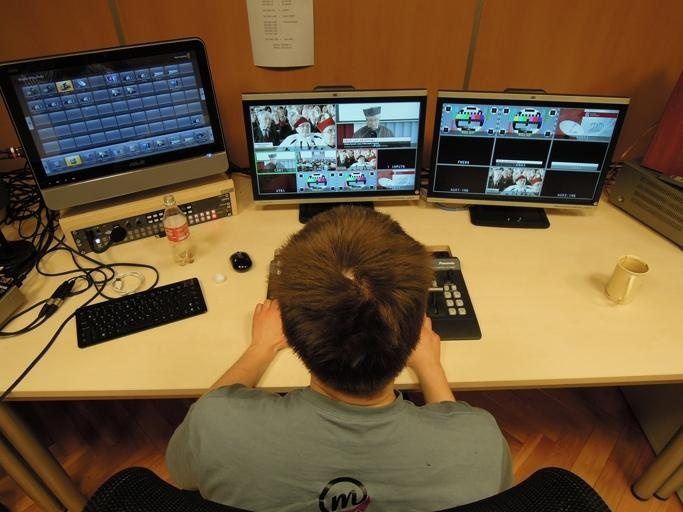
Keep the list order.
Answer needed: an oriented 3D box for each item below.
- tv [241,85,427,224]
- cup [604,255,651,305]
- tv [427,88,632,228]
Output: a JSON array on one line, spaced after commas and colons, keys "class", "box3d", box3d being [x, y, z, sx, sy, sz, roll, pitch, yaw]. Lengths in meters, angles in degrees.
[{"class": "tv", "box3d": [-0.031, -0.401, 1.929, 0.677, 0.513, 0.204, -1, 46, -2]}, {"class": "cup", "box3d": [0.997, 0.080, 1.729, 0.094, 0.145, 0.121, 24, 44, 30]}, {"class": "tv", "box3d": [0.741, -0.378, 1.977, 0.592, 0.491, 0.216, 3, 46, 5]}]
